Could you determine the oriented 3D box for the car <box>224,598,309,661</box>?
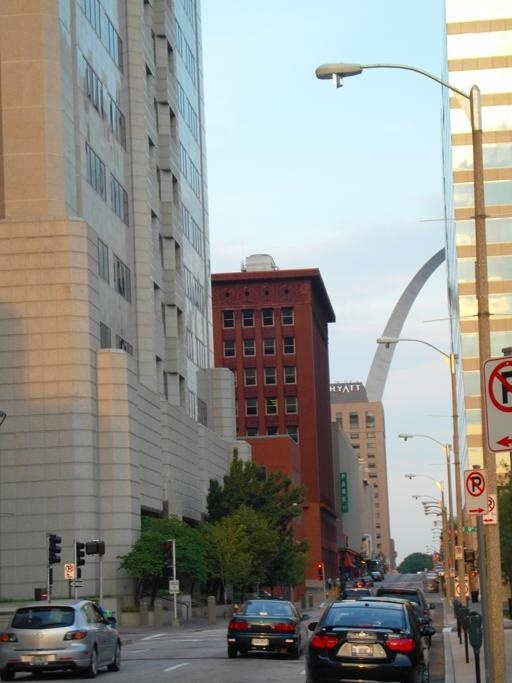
[{"bbox_3d":[0.243,7.019,37.331,1.801,1.568,1.955,-3,-17,-2],"label":"car"}]
